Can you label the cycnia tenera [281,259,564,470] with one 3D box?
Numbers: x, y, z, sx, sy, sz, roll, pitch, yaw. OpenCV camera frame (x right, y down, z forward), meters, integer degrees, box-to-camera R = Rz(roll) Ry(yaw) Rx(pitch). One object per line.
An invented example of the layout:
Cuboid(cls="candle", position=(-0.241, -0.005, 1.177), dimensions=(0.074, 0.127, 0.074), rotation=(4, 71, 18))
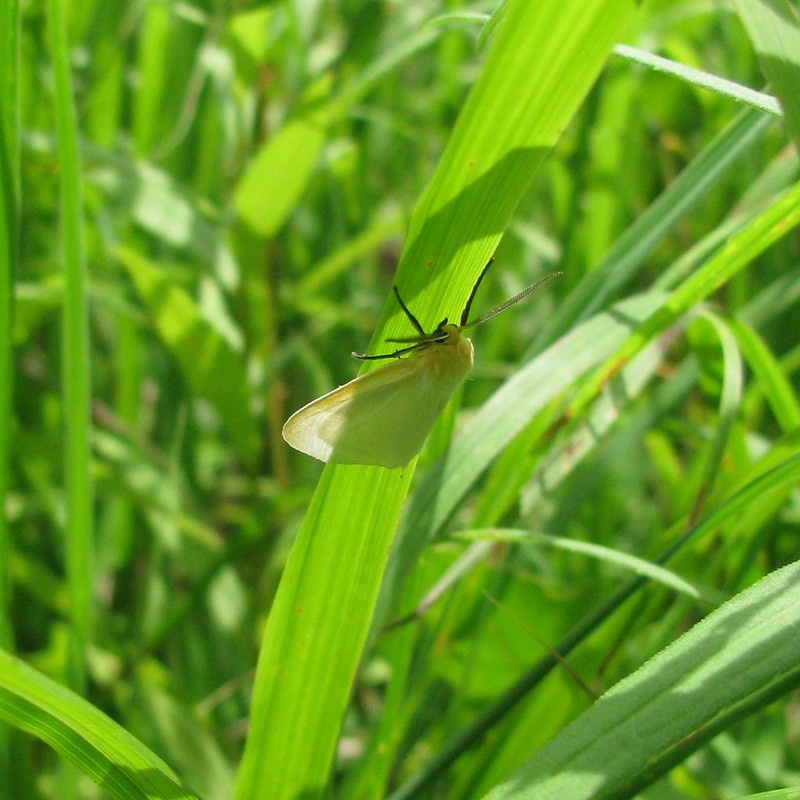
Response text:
Cuboid(cls="cycnia tenera", position=(0.012, -0.007, 0.708), dimensions=(0.154, 0.162, 0.047), rotation=(14, 27, -53))
